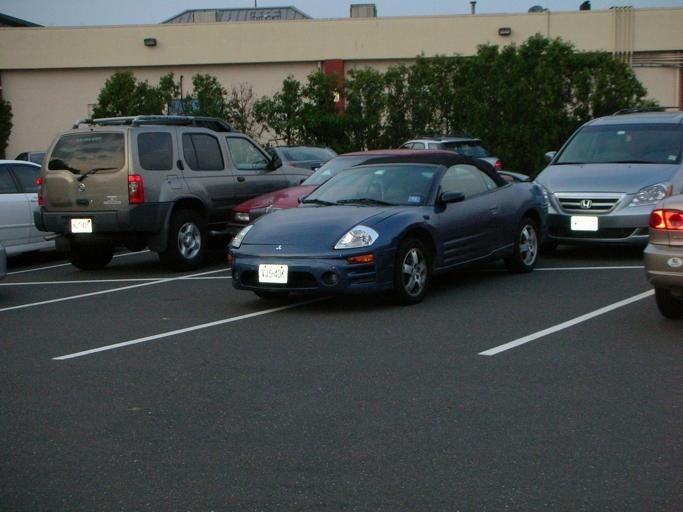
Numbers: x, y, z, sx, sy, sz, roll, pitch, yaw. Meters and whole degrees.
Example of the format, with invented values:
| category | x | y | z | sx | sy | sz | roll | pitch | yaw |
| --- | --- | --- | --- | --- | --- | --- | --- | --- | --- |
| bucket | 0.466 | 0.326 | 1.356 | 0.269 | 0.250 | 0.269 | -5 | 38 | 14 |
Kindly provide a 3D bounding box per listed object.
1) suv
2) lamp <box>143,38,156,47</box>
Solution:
| category | x | y | z | sx | sy | sz | roll | pitch | yaw |
| --- | --- | --- | --- | --- | --- | --- | --- | --- | --- |
| suv | -3.254 | -1.402 | 12.058 | 2.137 | 2.184 | 4.518 | 2 | 11 | 32 |
| lamp | -12.802 | -14.353 | 41.598 | 0.893 | 0.578 | 0.482 | -2 | 7 | -2 |
